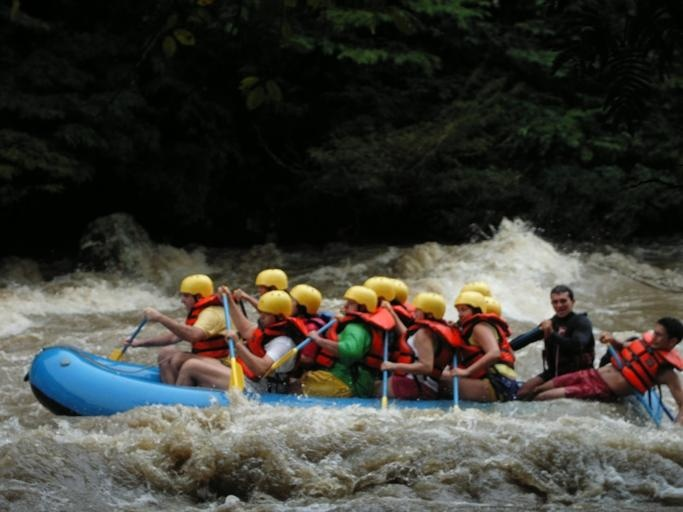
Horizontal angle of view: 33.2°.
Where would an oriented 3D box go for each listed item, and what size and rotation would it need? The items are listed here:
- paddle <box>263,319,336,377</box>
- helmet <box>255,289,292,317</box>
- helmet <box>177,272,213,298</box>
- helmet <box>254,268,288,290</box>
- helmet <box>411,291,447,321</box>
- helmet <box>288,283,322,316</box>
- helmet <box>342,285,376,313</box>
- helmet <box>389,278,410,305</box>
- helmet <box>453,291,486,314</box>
[{"bbox_3d":[-0.480,1.028,12.588,0.922,0.101,0.094,-39,26,-21],"label":"paddle"},{"bbox_3d":[-0.736,0.490,12.610,0.316,0.259,0.241,-12,25,-23],"label":"helmet"},{"bbox_3d":[-1.646,0.339,13.076,0.300,0.252,0.235,-8,10,-11],"label":"helmet"},{"bbox_3d":[-0.783,0.259,12.983,0.292,0.181,0.220,-1,8,-16],"label":"helmet"},{"bbox_3d":[0.985,0.553,12.809,0.327,0.302,0.255,2,6,-5],"label":"helmet"},{"bbox_3d":[-0.371,0.449,12.876,0.353,0.273,0.272,25,11,-11],"label":"helmet"},{"bbox_3d":[0.212,0.502,12.791,0.322,0.267,0.243,12,6,-8],"label":"helmet"},{"bbox_3d":[0.647,0.423,13.290,0.244,0.243,0.252,-23,40,28],"label":"helmet"},{"bbox_3d":[1.442,0.494,12.817,0.276,0.231,0.225,-9,9,-11],"label":"helmet"}]
